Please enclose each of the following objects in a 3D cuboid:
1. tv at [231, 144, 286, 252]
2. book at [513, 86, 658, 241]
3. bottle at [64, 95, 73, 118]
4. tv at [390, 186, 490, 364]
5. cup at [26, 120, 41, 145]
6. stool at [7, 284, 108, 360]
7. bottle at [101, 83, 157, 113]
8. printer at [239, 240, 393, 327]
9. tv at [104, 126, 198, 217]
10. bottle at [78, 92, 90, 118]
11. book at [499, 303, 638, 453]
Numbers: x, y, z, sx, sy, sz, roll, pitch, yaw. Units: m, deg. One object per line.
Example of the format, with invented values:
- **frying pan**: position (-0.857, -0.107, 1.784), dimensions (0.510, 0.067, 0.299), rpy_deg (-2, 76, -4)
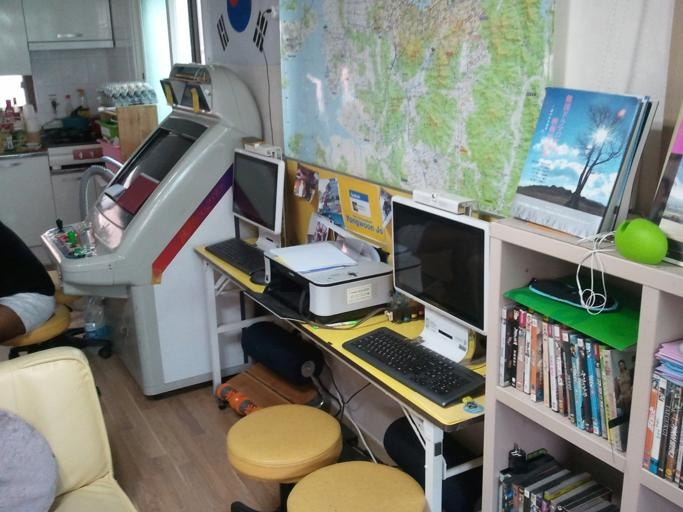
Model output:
- **tv**: position (-0.464, -0.348, 2.988), dimensions (0.168, 0.545, 0.517), rpy_deg (-5, 16, -36)
- **book**: position (0.660, -0.266, 1.485), dimensions (0.177, 0.363, 0.297), rpy_deg (-21, 32, -39)
- **bottle**: position (-2.862, -1.578, 5.523), dimensions (0.084, 0.196, 0.176), rpy_deg (-8, 25, -18)
- **tv**: position (0.377, 0.067, 1.962), dimensions (0.182, 0.579, 0.549), rpy_deg (-8, 14, -26)
- **cup**: position (-2.949, -1.173, 5.038), dimensions (0.111, 0.221, 0.163), rpy_deg (-11, 26, -24)
- **stool**: position (-1.692, 0.383, 3.140), dimensions (0.429, 0.516, 0.420), rpy_deg (5, 14, 28)
- **bottle**: position (-1.861, -1.418, 4.642), dimensions (0.417, 0.186, 0.252), rpy_deg (-6, 25, -12)
- **printer**: position (-0.018, 0.136, 2.347), dimensions (0.343, 0.174, 0.458), rpy_deg (-10, 16, -25)
- **tv**: position (-1.192, -0.528, 3.286), dimensions (0.469, 0.428, 0.684), rpy_deg (-16, 29, -31)
- **bottle**: position (-2.705, -1.601, 5.527), dimensions (0.106, 0.244, 0.311), rpy_deg (-11, 26, -23)
- **book**: position (0.651, 0.323, 1.500), dimensions (0.187, 0.351, 0.380), rpy_deg (-9, 20, -42)
